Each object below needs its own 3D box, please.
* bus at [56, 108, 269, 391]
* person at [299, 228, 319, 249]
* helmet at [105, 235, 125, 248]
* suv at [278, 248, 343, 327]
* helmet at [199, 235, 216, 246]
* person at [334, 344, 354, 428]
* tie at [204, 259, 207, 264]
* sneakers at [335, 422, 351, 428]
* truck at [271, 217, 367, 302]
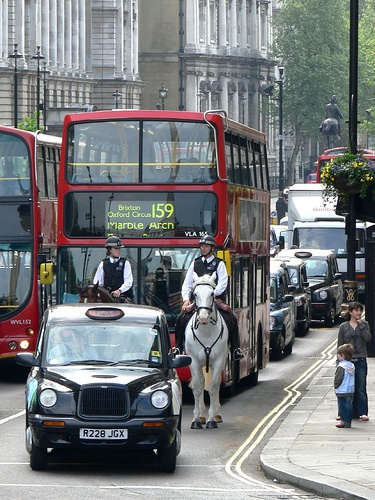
[{"bbox_3d":[-0.181,-0.624,18.098,1.635,2.779,4.877,1,1,8],"label":"bus"},{"bbox_3d":[3.495,-0.317,37.740,0.506,0.588,1.007,1,12,7],"label":"person"},{"bbox_3d":[-0.872,-0.111,15.022,0.146,0.137,0.119,-3,3,26],"label":"helmet"},{"bbox_3d":[3.175,0.765,32.567,1.159,1.354,2.282,-1,0,9],"label":"suv"},{"bbox_3d":[0.216,-0.108,13.795,0.137,0.083,0.100,17,-9,-24],"label":"helmet"},{"bbox_3d":[1.606,1.363,13.189,0.206,0.833,0.535,0,5,7],"label":"person"},{"bbox_3d":[0.189,0.112,13.967,0.029,0.046,0.010,-2,-8,17],"label":"tie"},{"bbox_3d":[1.574,1.740,13.044,0.136,0.068,0.059,-1,6,15],"label":"sneakers"},{"bbox_3d":[3.198,0.219,30.775,1.952,2.278,3.861,0,-3,11],"label":"truck"}]
